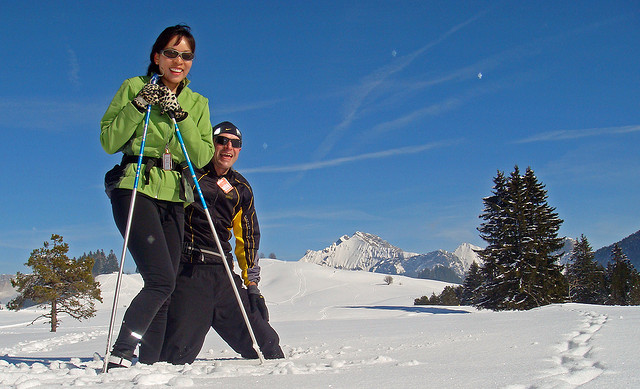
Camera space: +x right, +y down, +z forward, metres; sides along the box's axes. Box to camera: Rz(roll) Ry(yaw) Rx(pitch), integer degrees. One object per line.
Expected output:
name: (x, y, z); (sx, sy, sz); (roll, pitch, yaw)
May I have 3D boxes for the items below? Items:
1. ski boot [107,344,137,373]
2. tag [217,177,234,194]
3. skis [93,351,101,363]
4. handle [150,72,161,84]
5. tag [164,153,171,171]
ski boot: (-2.988, 2.398, 7.614); (0.386, 0.361, 0.309); (-6, -8, 29)
tag: (-1.744, -0.176, 9.343); (0.263, 0.251, 0.061); (-35, 3, -26)
skis: (-3.557, 2.585, 8.212); (0.157, 0.146, 0.039); (3, 4, 37)
handle: (-2.606, -1.808, 8.062); (0.111, 0.174, 0.169); (17, -42, 20)
tag: (-2.409, -0.508, 8.089); (0.095, 0.243, 0.063); (-1, -15, 0)
